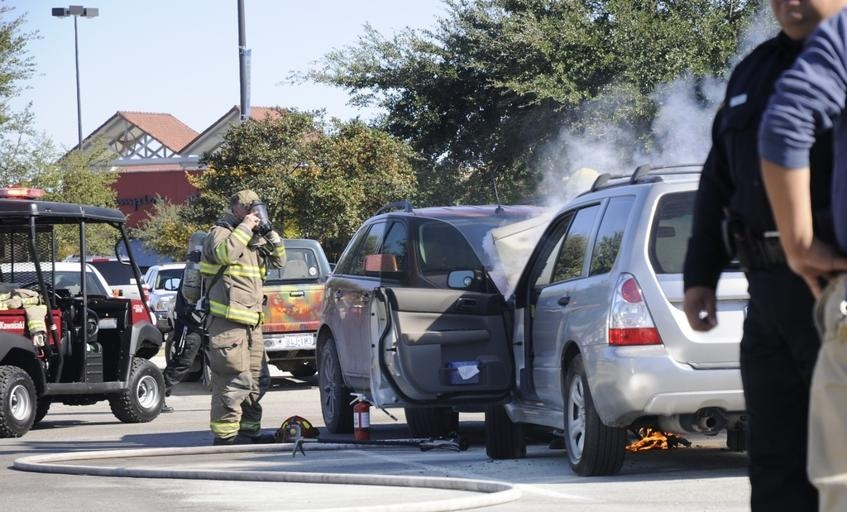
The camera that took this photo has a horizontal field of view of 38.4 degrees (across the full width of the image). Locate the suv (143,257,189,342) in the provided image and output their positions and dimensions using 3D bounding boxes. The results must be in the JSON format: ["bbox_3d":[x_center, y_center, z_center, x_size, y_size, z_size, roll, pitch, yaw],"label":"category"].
[{"bbox_3d":[-5.057,0.809,25.147,1.533,1.332,2.680,0,-5,-15],"label":"suv"}]

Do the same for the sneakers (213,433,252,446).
[{"bbox_3d":[-2.031,1.934,12.966,0.256,0.089,0.165,-4,3,-16],"label":"sneakers"}]

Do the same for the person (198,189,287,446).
[{"bbox_3d":[-1.953,0.614,13.088,0.789,2.726,0.517,-2,0,-26],"label":"person"}]

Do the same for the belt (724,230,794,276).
[{"bbox_3d":[2.008,-0.035,7.333,0.303,0.224,0.138,4,13,13],"label":"belt"}]

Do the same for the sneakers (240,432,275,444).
[{"bbox_3d":[-1.792,1.932,13.143,0.380,0.152,0.124,-1,3,-10],"label":"sneakers"}]

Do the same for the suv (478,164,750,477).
[{"bbox_3d":[1.759,0.613,11.463,1.882,1.681,2.980,0,2,-14],"label":"suv"}]

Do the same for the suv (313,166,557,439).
[{"bbox_3d":[-0.127,0.462,12.983,2.080,1.515,2.926,3,-10,-25],"label":"suv"}]
